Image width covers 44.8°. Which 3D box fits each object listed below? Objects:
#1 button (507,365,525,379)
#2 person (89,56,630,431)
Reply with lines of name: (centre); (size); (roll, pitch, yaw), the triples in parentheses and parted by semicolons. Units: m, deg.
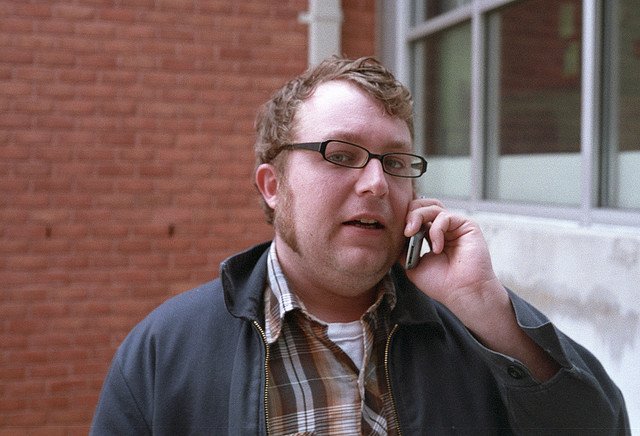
button: (0.780, 0.612, 3.082); (0.064, 0.051, 0.014); (-1, -1, 9)
person: (0.130, 0.098, 3.230); (1.948, 1.564, 0.499); (-1, -1, -4)
